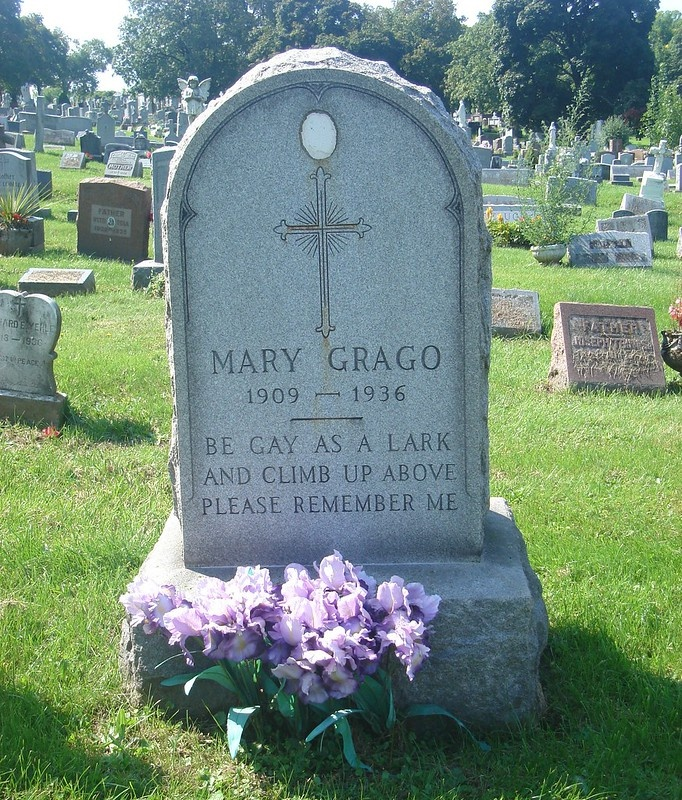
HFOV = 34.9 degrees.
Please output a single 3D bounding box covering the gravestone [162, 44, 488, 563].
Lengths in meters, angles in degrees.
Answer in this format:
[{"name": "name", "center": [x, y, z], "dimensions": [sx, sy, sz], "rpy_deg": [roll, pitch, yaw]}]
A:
[{"name": "gravestone", "center": [-0.067, -0.296, 3.580], "dimensions": [1.063, 1.981, 0.272], "rpy_deg": [-1, 42, 0]}]
